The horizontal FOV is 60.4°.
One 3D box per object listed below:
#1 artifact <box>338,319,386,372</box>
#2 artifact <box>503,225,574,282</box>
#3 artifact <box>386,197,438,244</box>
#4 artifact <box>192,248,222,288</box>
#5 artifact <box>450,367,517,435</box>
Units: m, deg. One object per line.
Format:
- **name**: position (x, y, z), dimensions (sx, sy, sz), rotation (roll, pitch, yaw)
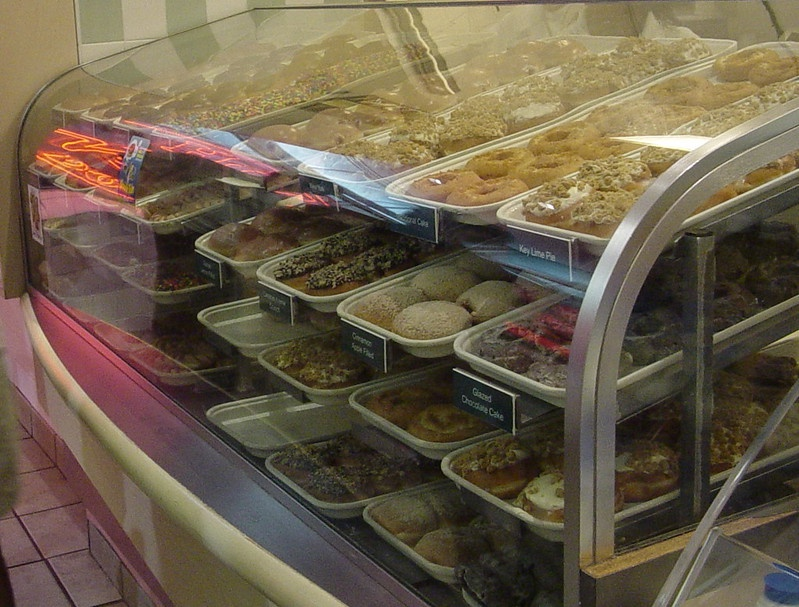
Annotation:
- **artifact**: position (-0.072, 0.081, 1.405), dimensions (0.021, 0.060, 0.138), rotation (-24, 31, -30)
- **artifact**: position (0.204, -0.076, 1.081), dimensions (0.117, 0.028, 0.082), rotation (17, 27, 39)
- **artifact**: position (0.031, -0.154, 1.262), dimensions (0.033, 0.073, 0.114), rotation (-41, 37, -24)
- **artifact**: position (-0.505, -0.096, 1.839), dimensions (0.132, 0.091, 0.031), rotation (19, 30, 38)
- **artifact**: position (0.148, 0.162, 1.169), dimensions (0.171, 0.075, 0.028), rotation (23, 47, 40)
